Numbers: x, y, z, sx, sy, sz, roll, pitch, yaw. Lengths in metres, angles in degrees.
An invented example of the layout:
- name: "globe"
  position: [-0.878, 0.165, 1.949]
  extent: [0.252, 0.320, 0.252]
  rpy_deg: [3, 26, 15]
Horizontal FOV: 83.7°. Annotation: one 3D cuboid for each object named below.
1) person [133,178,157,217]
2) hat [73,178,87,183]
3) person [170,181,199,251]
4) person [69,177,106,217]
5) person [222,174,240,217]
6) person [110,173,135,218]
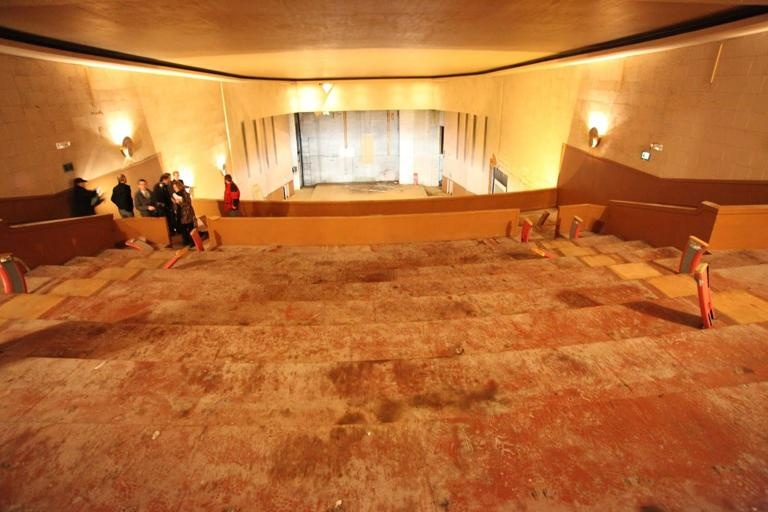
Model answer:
- name: "person"
  position: [-4.997, -1.188, 8.839]
  extent: [0.384, 0.807, 0.842]
  rpy_deg: [-12, 24, -29]
- name: "hat"
  position: [-5.866, -1.445, 8.175]
  extent: [0.194, 0.087, 0.249]
  rpy_deg: [-13, 24, -32]
- name: "person"
  position: [-4.041, -0.870, 8.595]
  extent: [0.364, 1.225, 1.447]
  rpy_deg: [-10, 23, -24]
- name: "person"
  position: [-5.827, -1.144, 8.295]
  extent: [0.470, 1.091, 0.402]
  rpy_deg: [25, 31, 24]
- name: "person"
  position: [-3.594, -1.398, 9.915]
  extent: [0.349, 0.978, 0.458]
  rpy_deg: [-9, 22, -21]
- name: "person"
  position: [-5.456, -1.225, 8.816]
  extent: [0.382, 0.876, 0.520]
  rpy_deg: [-13, 24, -29]
